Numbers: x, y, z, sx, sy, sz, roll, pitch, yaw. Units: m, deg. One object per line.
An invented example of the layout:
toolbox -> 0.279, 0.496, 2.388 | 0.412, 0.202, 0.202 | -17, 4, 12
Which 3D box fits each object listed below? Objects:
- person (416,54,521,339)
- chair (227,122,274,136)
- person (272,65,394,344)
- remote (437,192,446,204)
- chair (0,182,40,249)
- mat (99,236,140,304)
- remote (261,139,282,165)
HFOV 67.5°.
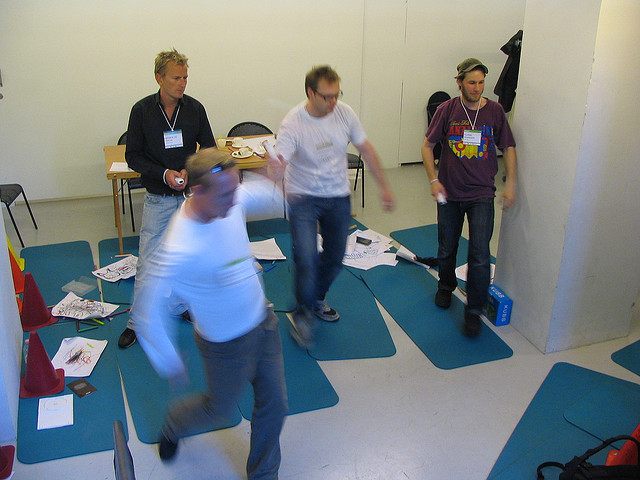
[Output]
person -> 1.153, -0.329, 3.818 | 0.780, 2.043, 0.738 | 10, 27, 32
chair -> -0.897, -1.389, 6.005 | 0.515, 0.157, 0.188 | -10, 24, -9
person -> -0.062, -0.249, 3.463 | 1.005, 1.976, 0.707 | -16, 22, -40
remote -> 0.980, -0.338, 3.847 | 0.017, 0.073, 0.073 | -7, -10, 33
chair -> -3.443, -0.374, 5.435 | 0.270, 0.608, 1.404 | -18, 27, -29
mat -> -1.981, 0.261, 4.728 | 0.406, 0.107, 1.531 | -15, 26, -19
remote -> -0.360, -0.640, 3.444 | 0.076, 0.068, 0.350 | -22, 41, -5
